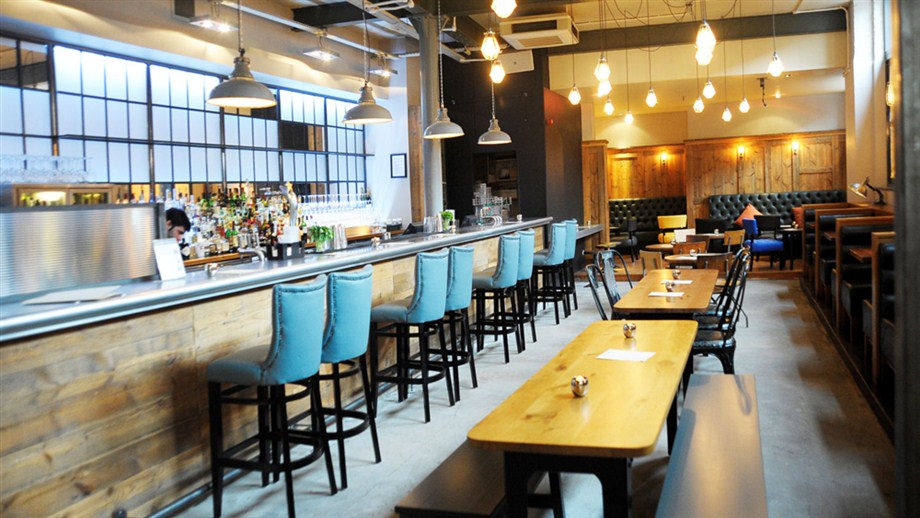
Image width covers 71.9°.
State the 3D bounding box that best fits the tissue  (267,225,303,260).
[{"bbox_3d":[-1.840,-0.163,6.583,0.197,0.327,0.364,3,4,23],"label":"tissue "}]

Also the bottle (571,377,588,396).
[{"bbox_3d":[0.828,0.899,4.524,0.127,0.131,0.135,6,10,27],"label":"bottle"}]

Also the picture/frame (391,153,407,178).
[{"bbox_3d":[-1.361,-2.072,13.977,0.618,0.639,0.067,0,-2,32],"label":"picture/frame"}]

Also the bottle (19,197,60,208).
[{"bbox_3d":[-4.273,-0.569,6.401,0.277,0.059,0.256,1,1,0],"label":"bottle"}]
